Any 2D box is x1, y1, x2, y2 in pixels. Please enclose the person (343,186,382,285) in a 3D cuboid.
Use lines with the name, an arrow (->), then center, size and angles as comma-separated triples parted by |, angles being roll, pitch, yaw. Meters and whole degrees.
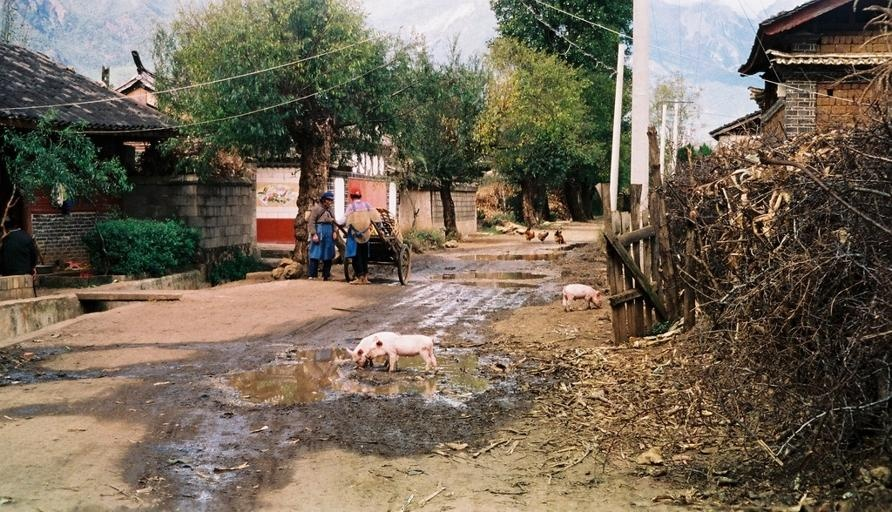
person -> -2.335, -0.528, 18.902 | 0.834, 2.379, 1.221 | 0, 0, -12

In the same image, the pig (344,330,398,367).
pig -> -1.158, 1.503, 11.711 | 1.006, 0.535, 0.374 | -8, 7, -39

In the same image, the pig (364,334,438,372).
pig -> -0.708, 1.574, 11.512 | 1.120, 0.608, 0.268 | 2, 14, 7

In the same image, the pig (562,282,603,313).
pig -> 2.806, 0.830, 14.587 | 0.871, 0.501, 0.375 | -5, 15, -23

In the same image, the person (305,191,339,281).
person -> -3.547, -0.557, 19.535 | 0.936, 2.443, 1.073 | 0, 0, 2
